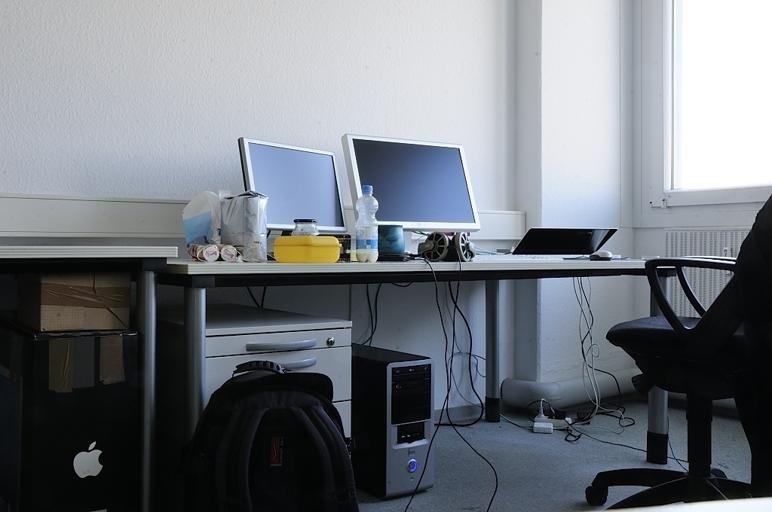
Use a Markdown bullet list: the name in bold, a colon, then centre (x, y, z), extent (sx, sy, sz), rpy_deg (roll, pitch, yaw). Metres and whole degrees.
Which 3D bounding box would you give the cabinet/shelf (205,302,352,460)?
- **cabinet/shelf**: centre (-0.577, 0.505, 2.708), extent (0.571, 0.482, 0.783), rpy_deg (0, -2, -31)

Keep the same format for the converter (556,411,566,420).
- **converter**: centre (1.013, 0.908, 3.651), extent (0.059, 0.038, 0.032), rpy_deg (-1, -3, 24)

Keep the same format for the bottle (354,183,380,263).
- **bottle**: centre (-0.078, -0.136, 2.700), extent (0.113, 0.321, 0.109), rpy_deg (0, 0, 0)

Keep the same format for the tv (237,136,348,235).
- **tv**: centre (-0.430, -0.314, 3.011), extent (0.114, 0.426, 0.624), rpy_deg (-10, -4, 35)

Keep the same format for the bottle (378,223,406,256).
- **bottle**: centre (0.022, -0.071, 2.807), extent (0.129, 0.117, 0.129), rpy_deg (-2, -2, 24)

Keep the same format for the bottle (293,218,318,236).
- **bottle**: centre (-0.340, -0.124, 2.645), extent (0.097, 0.061, 0.067), rpy_deg (0, 6, -2)

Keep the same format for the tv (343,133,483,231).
- **tv**: centre (0.136, -0.359, 3.150), extent (0.684, 0.471, 0.159), rpy_deg (-3, 7, -26)
